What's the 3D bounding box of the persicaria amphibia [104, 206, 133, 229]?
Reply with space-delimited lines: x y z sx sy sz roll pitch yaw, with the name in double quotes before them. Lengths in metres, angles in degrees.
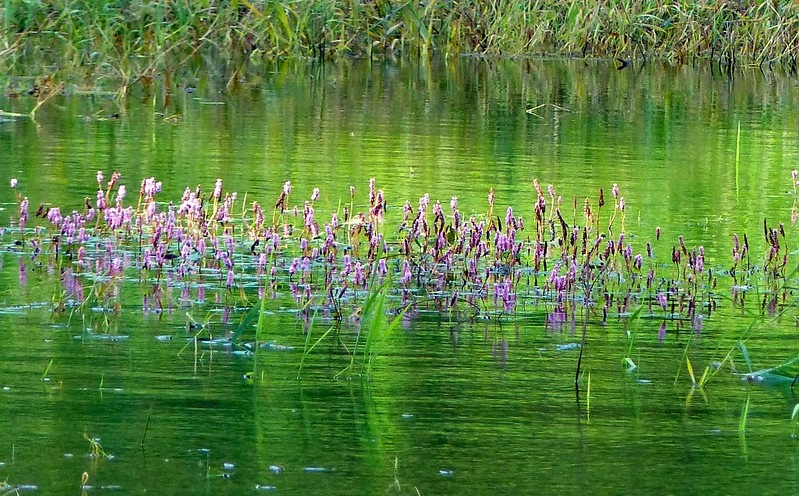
"persicaria amphibia" -2.077 -0.228 9.534 0.186 0.152 0.211 1 11 4
